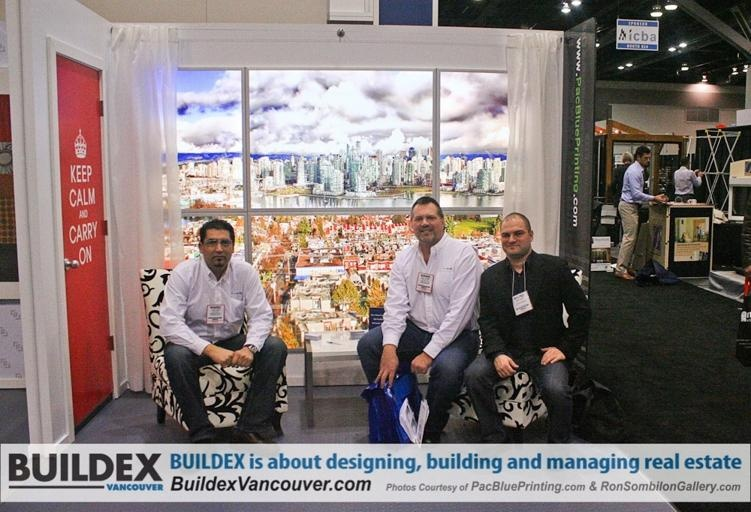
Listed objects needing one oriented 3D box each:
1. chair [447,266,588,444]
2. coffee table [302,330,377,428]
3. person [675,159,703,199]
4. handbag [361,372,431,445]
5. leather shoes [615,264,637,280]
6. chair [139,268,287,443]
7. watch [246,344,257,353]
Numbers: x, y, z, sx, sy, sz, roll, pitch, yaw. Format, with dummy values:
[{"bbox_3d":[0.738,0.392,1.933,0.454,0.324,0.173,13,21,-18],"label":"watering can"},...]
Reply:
[{"bbox_3d":[1.113,0.686,4.453,0.954,1.437,0.918,-4,4,-2],"label":"chair"},{"bbox_3d":[-0.335,0.990,5.155,0.552,0.506,0.656,-1,9,-3],"label":"coffee table"},{"bbox_3d":[5.442,-1.348,10.700,0.389,0.736,0.720,2,9,20],"label":"person"},{"bbox_3d":[0.197,1.041,4.570,0.427,0.567,0.566,-2,-3,25],"label":"handbag"},{"bbox_3d":[3.993,0.250,9.660,0.149,0.276,0.385,-11,10,-34],"label":"leather shoes"},{"bbox_3d":[-1.183,0.727,5.008,1.043,1.571,1.225,1,-4,-31],"label":"chair"},{"bbox_3d":[-0.902,0.680,4.490,0.066,0.064,0.068,20,11,21],"label":"watch"}]
